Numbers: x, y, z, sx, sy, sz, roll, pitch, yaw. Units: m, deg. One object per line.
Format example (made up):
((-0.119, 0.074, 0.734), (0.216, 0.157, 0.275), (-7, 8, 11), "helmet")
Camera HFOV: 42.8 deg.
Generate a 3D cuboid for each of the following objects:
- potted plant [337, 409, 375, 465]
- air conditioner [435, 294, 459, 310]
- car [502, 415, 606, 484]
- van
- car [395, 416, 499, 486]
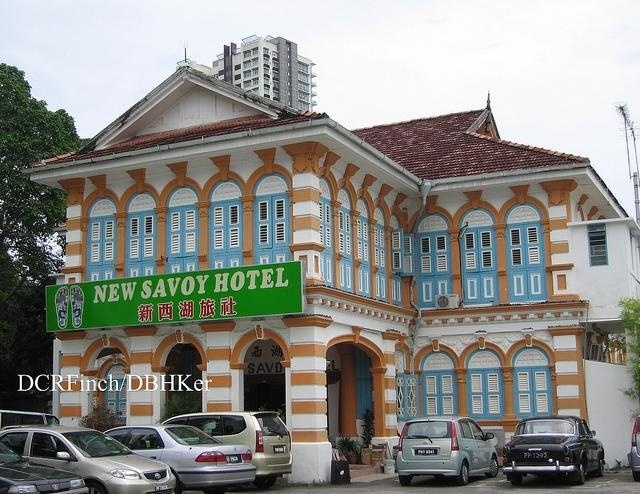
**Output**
((1.282, 6.595, 28.155), (1.510, 1.807, 1.331), (5, -20, -21), "potted plant")
((4.727, 2.024, 30.289), (0.839, 0.557, 0.507), (-7, -15, 27), "air conditioner")
((6.535, 5.654, 22.895), (1.739, 1.846, 3.069), (-12, -17, 39), "car")
((-2.578, 5.442, 22.529), (3.277, 1.480, 1.789), (-2, -11, 21), "van")
((3.830, 5.891, 24.064), (1.774, 1.284, 2.909), (-6, -10, 30), "car")
